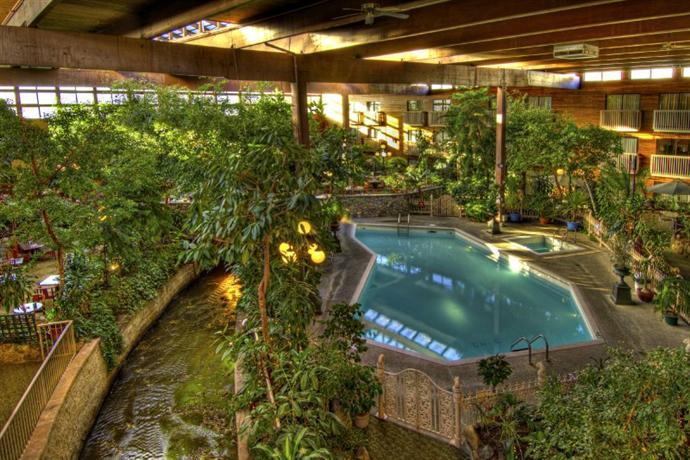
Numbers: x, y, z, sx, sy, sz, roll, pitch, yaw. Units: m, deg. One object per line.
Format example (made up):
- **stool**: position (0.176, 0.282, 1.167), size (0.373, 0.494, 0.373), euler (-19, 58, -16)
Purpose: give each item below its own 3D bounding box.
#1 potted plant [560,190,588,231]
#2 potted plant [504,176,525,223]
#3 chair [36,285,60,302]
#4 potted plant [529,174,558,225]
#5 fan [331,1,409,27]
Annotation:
- **potted plant**: position (10.861, -1.073, 21.016), size (0.954, 1.851, 1.687), euler (-1, 11, -2)
- **potted plant**: position (8.743, -1.720, 22.548), size (1.030, 2.407, 0.486), euler (-2, 11, -9)
- **chair**: position (-9.187, 1.899, 13.443), size (0.619, 0.414, 0.672), euler (1, 5, 39)
- **potted plant**: position (9.936, -1.603, 22.125), size (1.317, 2.275, 0.936), euler (4, 12, 24)
- **fan**: position (0.453, -4.170, 8.450), size (1.372, 0.430, 0.989), euler (0, 11, 2)
